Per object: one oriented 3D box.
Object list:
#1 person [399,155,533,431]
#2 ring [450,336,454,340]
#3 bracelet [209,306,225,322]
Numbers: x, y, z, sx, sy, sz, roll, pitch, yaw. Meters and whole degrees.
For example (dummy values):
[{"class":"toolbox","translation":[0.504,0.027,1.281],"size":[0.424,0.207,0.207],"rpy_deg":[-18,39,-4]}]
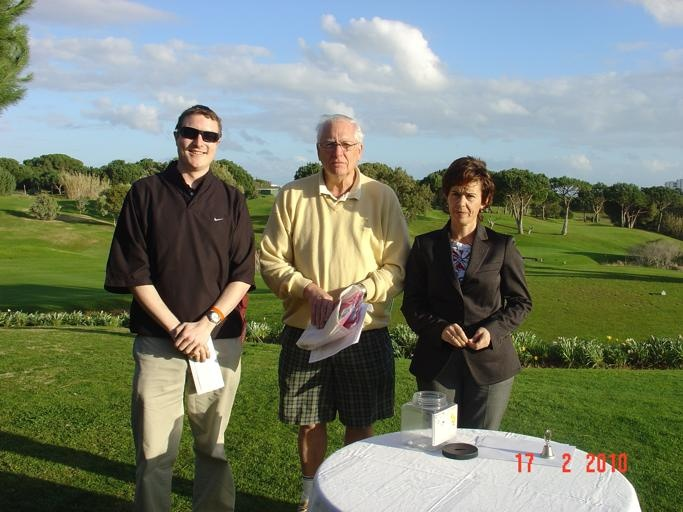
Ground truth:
[{"class":"person","translation":[0.978,0.303,3.190],"size":[1.000,1.750,0.548],"rpy_deg":[-3,-2,4]},{"class":"ring","translation":[0.806,0.594,2.989],"size":[0.023,0.012,0.031],"rpy_deg":[10,19,-12]},{"class":"bracelet","translation":[-0.916,0.435,3.042],"size":[0.115,0.084,0.110],"rpy_deg":[12,-14,-23]}]
